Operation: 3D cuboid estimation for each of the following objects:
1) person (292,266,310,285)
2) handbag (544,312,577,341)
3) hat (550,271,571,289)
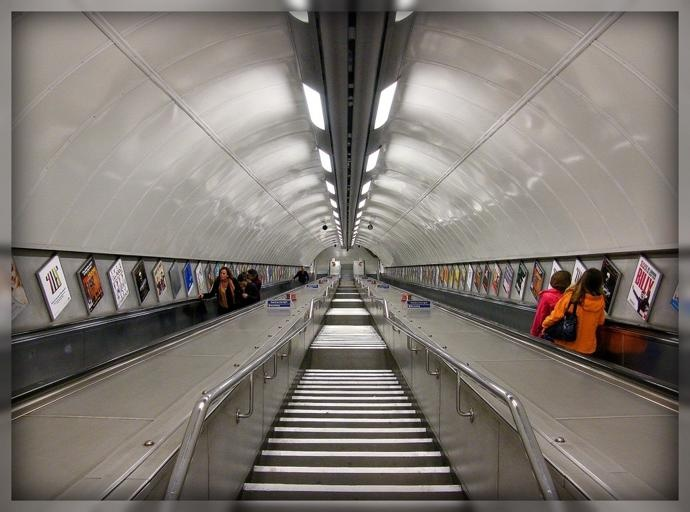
[{"bbox_3d":[-3.702,1.572,30.243,1.331,0.621,1.865,4,-30,1],"label":"person"},{"bbox_3d":[3.028,0.970,5.234,0.369,0.368,0.171,-3,-27,46],"label":"handbag"},{"bbox_3d":[3.384,0.383,5.915,0.214,0.315,0.308,0,-19,19],"label":"hat"}]
